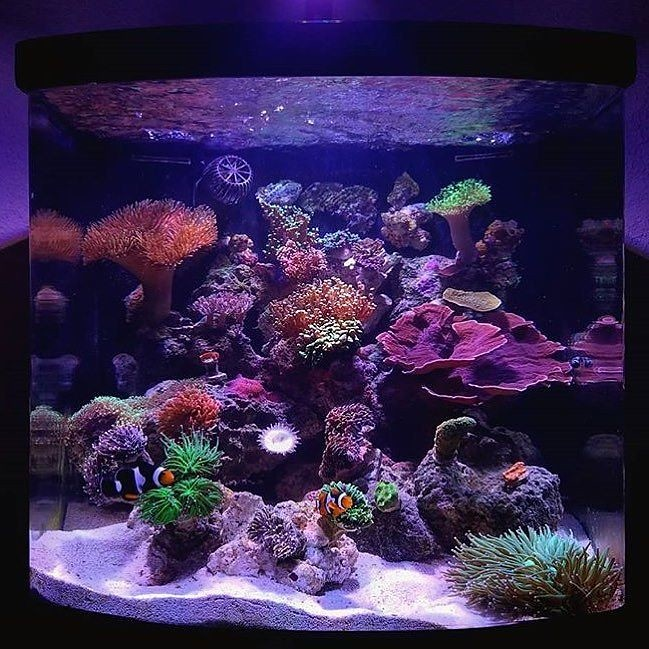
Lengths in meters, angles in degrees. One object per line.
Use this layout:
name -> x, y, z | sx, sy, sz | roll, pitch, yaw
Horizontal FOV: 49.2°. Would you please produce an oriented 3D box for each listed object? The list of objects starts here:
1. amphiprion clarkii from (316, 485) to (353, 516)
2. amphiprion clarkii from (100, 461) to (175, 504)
amphiprion clarkii -> 0.059, 0.942, 3.716 | 0.190, 0.180, 0.180 | -2, 12, -2
amphiprion clarkii -> -0.948, 0.812, 3.604 | 0.374, 0.216, 0.099 | -1, 13, -1
